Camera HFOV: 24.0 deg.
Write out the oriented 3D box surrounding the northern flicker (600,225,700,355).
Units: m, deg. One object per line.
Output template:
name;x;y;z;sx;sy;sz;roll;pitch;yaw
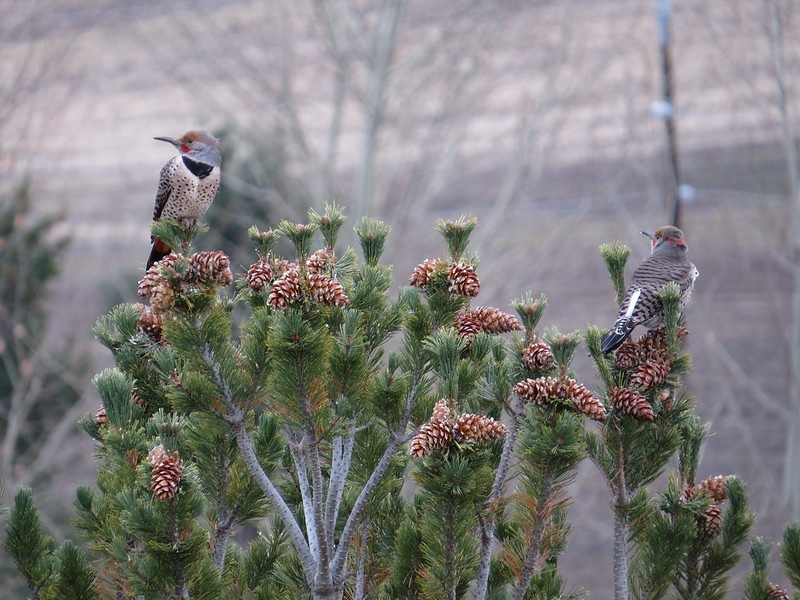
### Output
northern flicker;1.320;-0.030;10.024;0.389;0.625;1.074;6;16;29
